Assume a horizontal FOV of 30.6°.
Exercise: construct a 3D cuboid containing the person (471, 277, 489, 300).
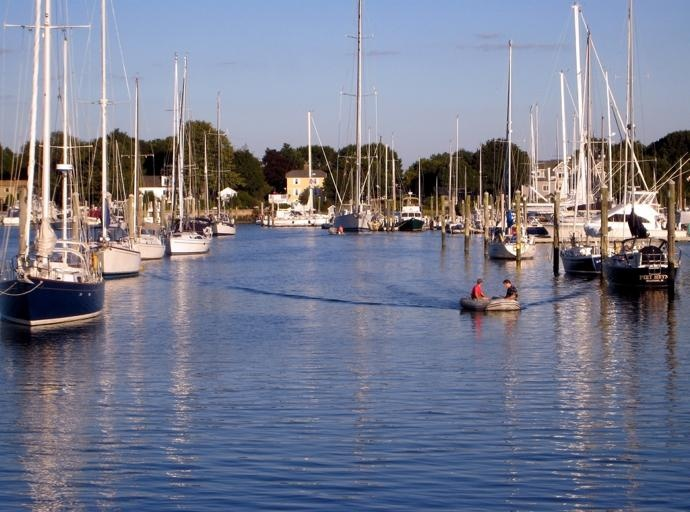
[{"bbox_3d":[5.901,1.442,54.917,0.621,0.916,0.707,10,13,35],"label":"person"}]
